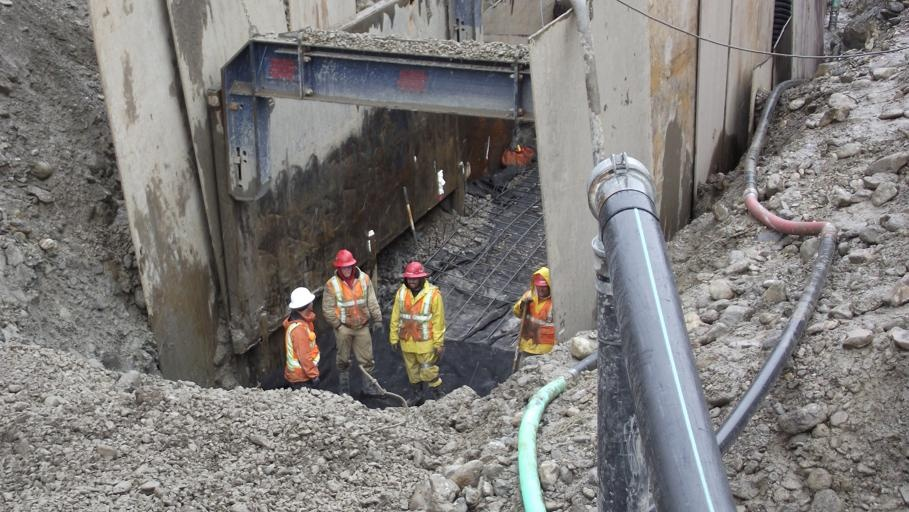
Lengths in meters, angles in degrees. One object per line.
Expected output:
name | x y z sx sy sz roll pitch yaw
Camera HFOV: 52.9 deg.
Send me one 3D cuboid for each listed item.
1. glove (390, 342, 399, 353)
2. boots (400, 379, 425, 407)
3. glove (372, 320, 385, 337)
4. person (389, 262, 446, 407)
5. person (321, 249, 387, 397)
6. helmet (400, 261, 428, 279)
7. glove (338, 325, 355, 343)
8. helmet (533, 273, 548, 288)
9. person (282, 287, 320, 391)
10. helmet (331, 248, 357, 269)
glove | -0.889 1.338 13.673 0.126 0.154 0.217 4 -7 -5
boots | -0.586 1.996 13.560 0.346 0.459 0.252 2 15 7
glove | -1.184 1.115 14.270 0.138 0.246 0.219 10 14 8
person | -0.512 1.095 13.262 0.723 2.160 0.440 13 22 29
person | -1.513 1.005 13.727 0.807 2.304 0.578 -3 17 -8
helmet | -0.569 0.184 12.936 0.289 0.231 0.251 -2 20 -12
glove | -1.596 1.129 13.580 0.198 0.354 0.266 -8 60 5
helmet | 1.167 0.320 12.338 0.136 0.204 0.150 10 8 25
person | -2.140 1.213 12.829 0.456 1.374 0.578 -2 20 -11
helmet | -1.629 0.037 13.502 0.273 0.186 0.325 -10 20 -22
